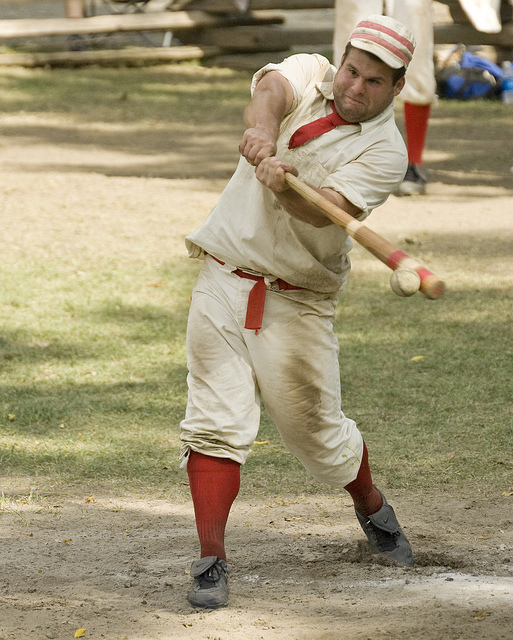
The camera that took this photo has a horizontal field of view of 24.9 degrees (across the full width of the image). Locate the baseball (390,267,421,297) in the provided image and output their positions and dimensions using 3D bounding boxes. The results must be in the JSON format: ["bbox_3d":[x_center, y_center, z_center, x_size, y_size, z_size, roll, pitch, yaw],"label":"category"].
[{"bbox_3d":[0.444,-0.108,3.388,0.085,0.102,0.098,2,20,6],"label":"baseball"}]

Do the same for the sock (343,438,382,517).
[{"bbox_3d":[0.452,0.521,4.348,0.103,0.089,0.251,-12,56,12],"label":"sock"}]

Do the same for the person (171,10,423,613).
[{"bbox_3d":[0.132,0.001,4.077,0.862,2.074,1.501,-1,21,0],"label":"person"}]

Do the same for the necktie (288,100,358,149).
[{"bbox_3d":[0.226,-0.633,3.853,0.229,0.118,0.053,-7,23,-20],"label":"necktie"}]

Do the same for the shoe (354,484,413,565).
[{"bbox_3d":[0.487,0.754,4.271,0.112,0.271,0.115,-34,-17,0],"label":"shoe"}]

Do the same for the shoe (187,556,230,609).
[{"bbox_3d":[-0.152,0.825,3.785,0.144,0.111,0.297,4,10,5],"label":"shoe"}]
